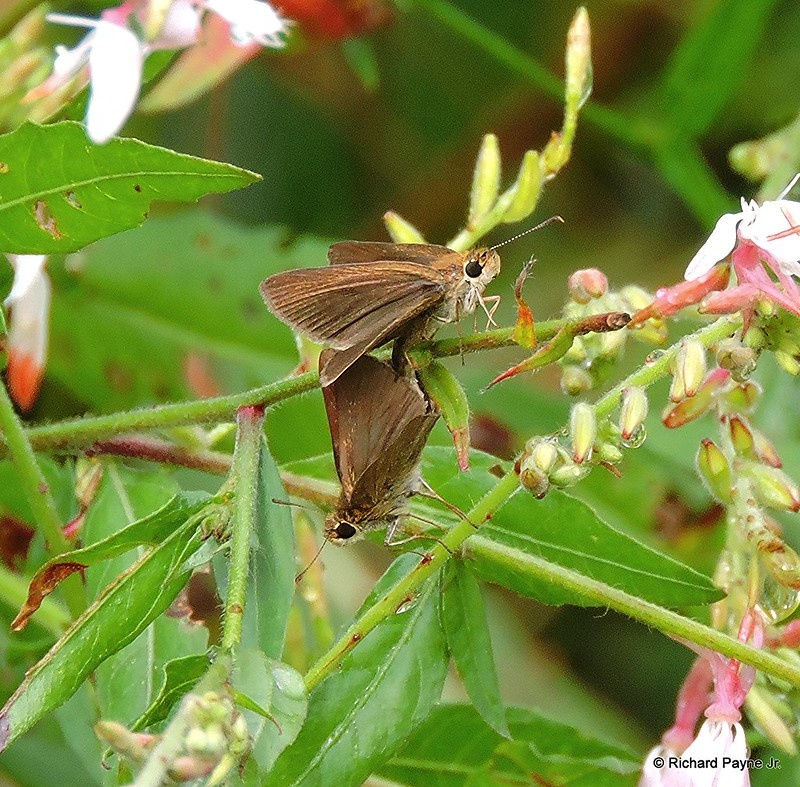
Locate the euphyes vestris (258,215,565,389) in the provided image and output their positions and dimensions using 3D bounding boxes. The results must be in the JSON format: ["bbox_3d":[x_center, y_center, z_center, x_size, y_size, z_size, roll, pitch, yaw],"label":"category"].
[{"bbox_3d":[-0.005,-0.126,1.294,0.297,0.135,0.281,-8,8,2],"label":"euphyes vestris"}]

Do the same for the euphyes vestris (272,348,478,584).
[{"bbox_3d":[-0.083,0.139,1.422,0.276,0.224,0.383,30,-34,-24],"label":"euphyes vestris"}]
